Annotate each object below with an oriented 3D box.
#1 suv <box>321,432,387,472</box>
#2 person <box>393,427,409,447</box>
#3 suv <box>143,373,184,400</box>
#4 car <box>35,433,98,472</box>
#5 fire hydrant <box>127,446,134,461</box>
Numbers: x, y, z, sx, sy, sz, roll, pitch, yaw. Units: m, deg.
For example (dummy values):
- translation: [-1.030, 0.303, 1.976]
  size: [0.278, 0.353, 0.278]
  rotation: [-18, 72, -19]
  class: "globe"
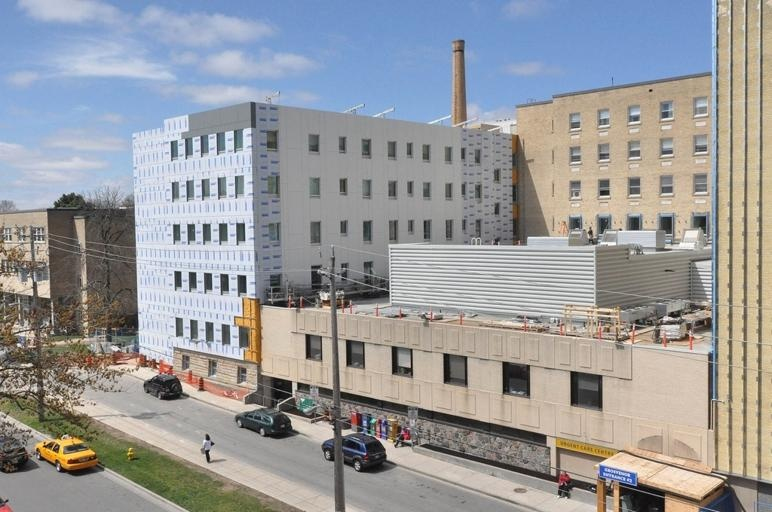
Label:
- translation: [-2.592, 15.398, 77.020]
  size: [4.890, 2.099, 2.284]
  rotation: [8, 5, 38]
  class: "suv"
- translation: [1.290, 14.886, 80.087]
  size: [1.435, 1.308, 0.728]
  rotation: [-2, -1, 0]
  class: "person"
- translation: [-20.933, 12.260, 91.195]
  size: [3.338, 1.618, 1.555]
  rotation: [-2, -1, 32]
  class: "suv"
- translation: [-25.340, 15.887, 76.977]
  size: [5.119, 1.765, 2.517]
  rotation: [12, 9, 44]
  class: "car"
- translation: [-20.417, 15.807, 77.717]
  size: [0.601, 0.974, 0.735]
  rotation: [1, 3, 24]
  class: "fire hydrant"
